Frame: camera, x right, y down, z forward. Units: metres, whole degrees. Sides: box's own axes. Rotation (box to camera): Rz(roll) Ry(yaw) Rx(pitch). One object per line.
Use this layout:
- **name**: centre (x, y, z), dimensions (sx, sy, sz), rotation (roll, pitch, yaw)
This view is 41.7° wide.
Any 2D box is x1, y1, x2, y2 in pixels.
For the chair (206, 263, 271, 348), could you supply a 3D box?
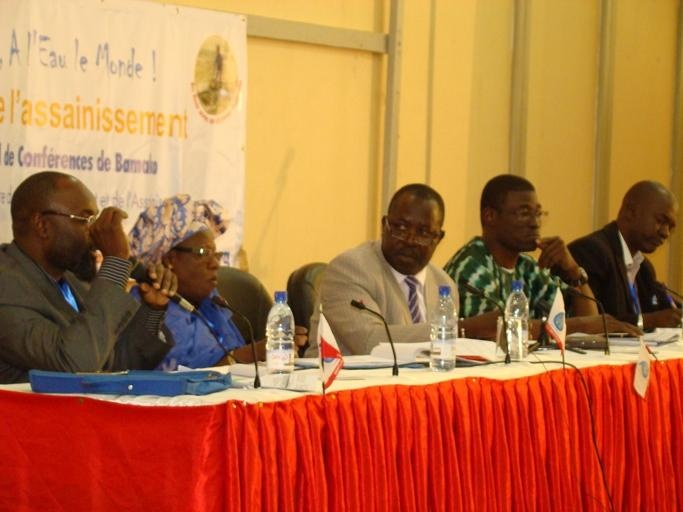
- **chair**: centre (-0.529, 0.243, 5.110), dimensions (0.318, 0.404, 0.445), rotation (-10, 46, -6)

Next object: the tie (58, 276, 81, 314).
- **tie**: centre (-1.265, 0.182, 4.188), dimensions (0.050, 0.148, 0.102), rotation (-28, 21, -24)

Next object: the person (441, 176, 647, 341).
- **person**: centre (1.071, 0.046, 5.191), dimensions (0.708, 0.946, 1.068), rotation (5, -15, -33)

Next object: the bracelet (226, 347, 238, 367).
- **bracelet**: centre (-0.544, 0.495, 4.391), dimensions (0.033, 0.108, 0.073), rotation (-2, 1, -35)

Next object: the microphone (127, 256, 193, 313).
- **microphone**: centre (-0.837, 0.135, 4.206), dimensions (0.351, 0.099, 0.091), rotation (32, 35, 18)

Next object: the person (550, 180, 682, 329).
- **person**: centre (1.885, -0.002, 6.076), dimensions (0.664, 1.258, 0.753), rotation (15, -22, -40)

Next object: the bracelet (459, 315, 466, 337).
- **bracelet**: centre (0.604, 0.356, 4.482), dimensions (0.016, 0.070, 0.063), rotation (-1, 26, 11)

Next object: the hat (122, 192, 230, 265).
- **hat**: centre (-0.927, -0.198, 5.105), dimensions (0.456, 0.287, 0.569), rotation (-22, 0, -19)

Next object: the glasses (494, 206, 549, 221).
- **glasses**: centre (1.033, -0.256, 5.278), dimensions (0.155, 0.047, 0.149), rotation (-7, -8, 43)
